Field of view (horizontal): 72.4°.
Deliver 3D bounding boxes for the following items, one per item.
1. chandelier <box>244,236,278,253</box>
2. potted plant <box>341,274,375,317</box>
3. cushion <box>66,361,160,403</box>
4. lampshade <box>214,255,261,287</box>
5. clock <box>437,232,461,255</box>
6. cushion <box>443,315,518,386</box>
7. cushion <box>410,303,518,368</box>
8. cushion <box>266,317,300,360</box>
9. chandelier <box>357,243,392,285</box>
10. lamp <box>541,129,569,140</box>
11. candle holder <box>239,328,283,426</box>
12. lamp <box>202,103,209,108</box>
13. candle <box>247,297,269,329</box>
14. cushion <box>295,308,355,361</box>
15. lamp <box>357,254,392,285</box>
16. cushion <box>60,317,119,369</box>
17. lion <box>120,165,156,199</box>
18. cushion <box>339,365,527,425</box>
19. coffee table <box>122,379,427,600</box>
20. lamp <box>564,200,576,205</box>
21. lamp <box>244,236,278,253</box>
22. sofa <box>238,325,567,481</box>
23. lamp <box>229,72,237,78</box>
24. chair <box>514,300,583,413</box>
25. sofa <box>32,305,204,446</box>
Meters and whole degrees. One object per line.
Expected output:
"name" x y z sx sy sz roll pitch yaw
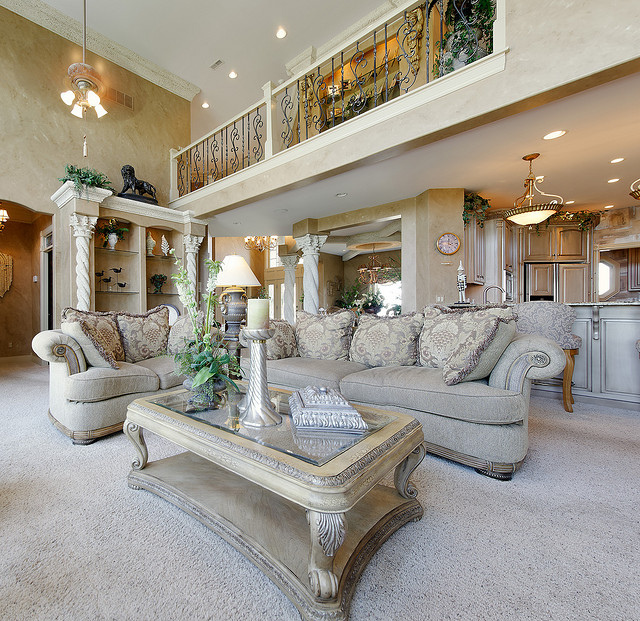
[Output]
"chandelier" -1.220 -1.388 8.863 0.580 0.433 0.592 8 11 40
"potted plant" 0.841 -0.167 8.482 0.547 0.763 0.568 23 -1 32
"cushion" -1.555 0.486 3.258 0.538 0.243 0.458 7 -1 -43
"lampshade" -0.694 -0.271 3.571 0.320 0.304 0.319 -6 6 -41
"clock" 1.547 -0.819 5.260 0.263 0.249 0.104 3 14 14
"cushion" 0.978 0.254 2.734 0.126 0.439 0.425 30 6 -11
"cushion" 0.991 0.116 3.112 0.183 0.503 0.619 25 -14 -22
"cushion" -0.349 0.237 3.976 0.301 0.346 0.099 11 -32 -42
"chandelier" 1.272 -1.126 10.072 0.798 1.187 0.717 0 -5 -1
"lamp" 2.059 -1.545 3.831 0.214 0.055 0.166 9 16 35
"candle holder" -0.311 0.309 2.227 0.261 0.486 0.259 -1 8 -16
"lamp" -2.069 -3.712 7.910 0.116 0.032 0.151 3 13 11
"candle" -0.298 0.009 2.114 0.118 0.216 0.130 -1 -2 12
"cushion" 0.003 0.237 4.022 0.615 0.540 0.248 0 -7 26
"lamp" 1.187 -0.896 10.114 0.709 0.840 0.787 0 0 32
"cushion" -1.636 0.240 3.341 0.535 0.459 0.325 0 1 43
"lion" -2.565 -1.838 6.164 0.365 0.448 0.491 -4 14 -15
"cushion" 0.719 0.466 2.763 0.744 0.292 0.927 2 0 -40
"coffee table" -0.287 0.726 2.310 1.474 0.495 0.780 9 16 35
"lamp" 3.485 -1.516 6.086 0.136 0.054 0.294 8 15 30
"lamp" -1.235 -1.382 8.860 0.569 0.426 0.585 6 8 36
"sofa" 0.429 0.549 3.551 2.664 1.131 0.932 0 -6 41
"lamp" -1.408 -3.822 7.088 0.120 0.040 0.132 -3 13 -11
"chair" 2.123 0.406 4.093 0.594 0.993 0.616 -3 0 -13
"sofa" -1.601 0.472 3.702 0.771 0.981 1.425 1 0 32
